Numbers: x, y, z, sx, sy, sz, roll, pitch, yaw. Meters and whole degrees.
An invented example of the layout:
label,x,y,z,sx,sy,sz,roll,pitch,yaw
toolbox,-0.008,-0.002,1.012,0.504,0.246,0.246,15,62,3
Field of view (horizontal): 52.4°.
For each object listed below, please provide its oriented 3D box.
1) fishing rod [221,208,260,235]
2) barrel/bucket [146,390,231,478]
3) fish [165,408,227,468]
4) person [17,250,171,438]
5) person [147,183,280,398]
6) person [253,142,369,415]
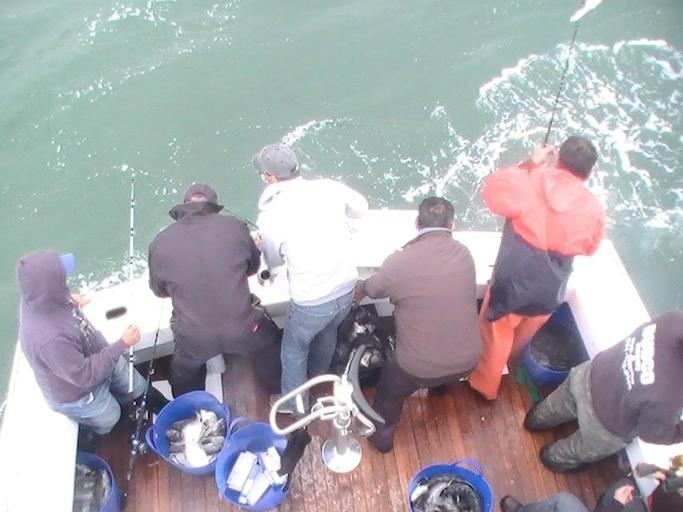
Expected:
label,x,y,z,sx,sy,sz,roll,pitch,yaw
fishing rod,-1.129,-0.387,7.675,0.184,0.148,0.559,-37,40,-9
barrel/bucket,-1.563,1.691,7.073,0.747,0.918,0.820,2,38,-2
fish,-1.445,1.855,7.132,0.451,0.204,0.550,1,67,5
person,-2.560,0.949,6.699,0.789,1.861,0.944,19,53,30
person,-1.289,0.465,7.216,1.097,1.996,1.072,-11,45,4
person,-0.431,0.553,7.409,0.935,3.088,1.067,25,40,27
